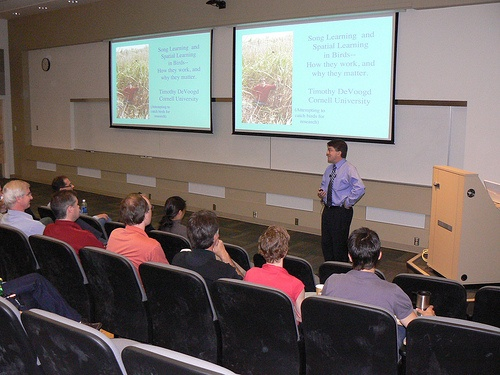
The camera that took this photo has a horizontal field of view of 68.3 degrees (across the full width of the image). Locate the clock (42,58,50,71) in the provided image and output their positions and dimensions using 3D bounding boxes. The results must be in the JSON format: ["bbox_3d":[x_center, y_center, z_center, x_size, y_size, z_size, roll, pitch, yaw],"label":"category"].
[{"bbox_3d":[-5.795,-3.490,10.461,0.384,0.388,0.081,4,2,39],"label":"clock"}]

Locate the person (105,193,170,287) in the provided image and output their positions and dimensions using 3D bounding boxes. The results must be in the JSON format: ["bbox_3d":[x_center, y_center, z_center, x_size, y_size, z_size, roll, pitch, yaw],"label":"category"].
[{"bbox_3d":[-0.917,0.419,3.012,0.470,0.805,0.422,13,26,10],"label":"person"}]

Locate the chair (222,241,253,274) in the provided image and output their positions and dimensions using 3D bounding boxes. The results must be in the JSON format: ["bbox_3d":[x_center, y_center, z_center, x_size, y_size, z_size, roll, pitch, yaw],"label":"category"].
[{"bbox_3d":[-0.087,0.579,3.363,0.192,0.401,0.223,12,21,35],"label":"chair"}]
